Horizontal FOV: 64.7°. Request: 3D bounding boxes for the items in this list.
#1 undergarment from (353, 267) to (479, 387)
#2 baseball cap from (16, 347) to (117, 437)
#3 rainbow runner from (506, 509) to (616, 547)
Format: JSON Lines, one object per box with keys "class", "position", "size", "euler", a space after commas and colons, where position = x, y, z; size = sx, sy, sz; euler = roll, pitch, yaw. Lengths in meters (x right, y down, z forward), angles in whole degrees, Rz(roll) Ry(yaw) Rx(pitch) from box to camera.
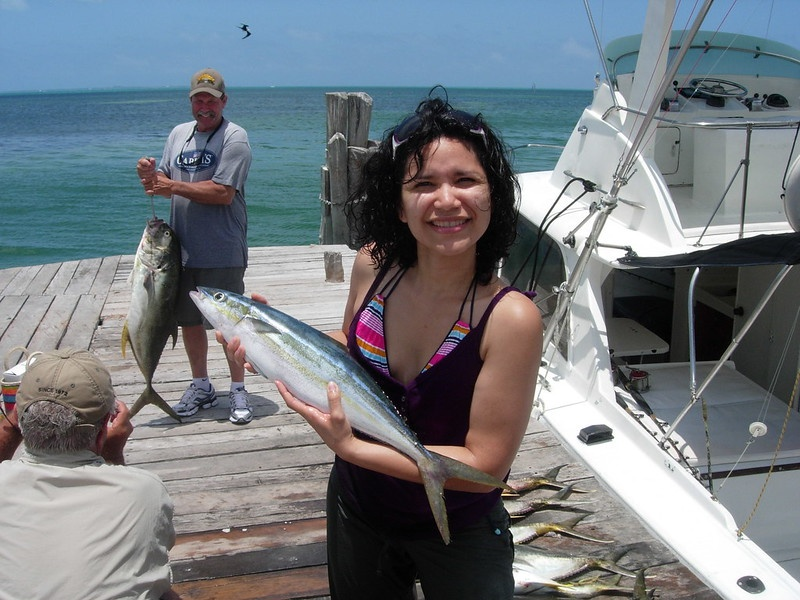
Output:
{"class": "undergarment", "position": [0.028, 0.088, 2.395], "size": [0.330, 0.400, 0.173], "euler": [16, -13, 24]}
{"class": "baseball cap", "position": [-1.381, 0.315, 2.586], "size": [0.340, 0.237, 0.482], "euler": [8, 9, -26]}
{"class": "rainbow runner", "position": [0.839, 1.293, 3.543], "size": [0.732, 0.096, 0.282], "euler": [1, 14, -17]}
